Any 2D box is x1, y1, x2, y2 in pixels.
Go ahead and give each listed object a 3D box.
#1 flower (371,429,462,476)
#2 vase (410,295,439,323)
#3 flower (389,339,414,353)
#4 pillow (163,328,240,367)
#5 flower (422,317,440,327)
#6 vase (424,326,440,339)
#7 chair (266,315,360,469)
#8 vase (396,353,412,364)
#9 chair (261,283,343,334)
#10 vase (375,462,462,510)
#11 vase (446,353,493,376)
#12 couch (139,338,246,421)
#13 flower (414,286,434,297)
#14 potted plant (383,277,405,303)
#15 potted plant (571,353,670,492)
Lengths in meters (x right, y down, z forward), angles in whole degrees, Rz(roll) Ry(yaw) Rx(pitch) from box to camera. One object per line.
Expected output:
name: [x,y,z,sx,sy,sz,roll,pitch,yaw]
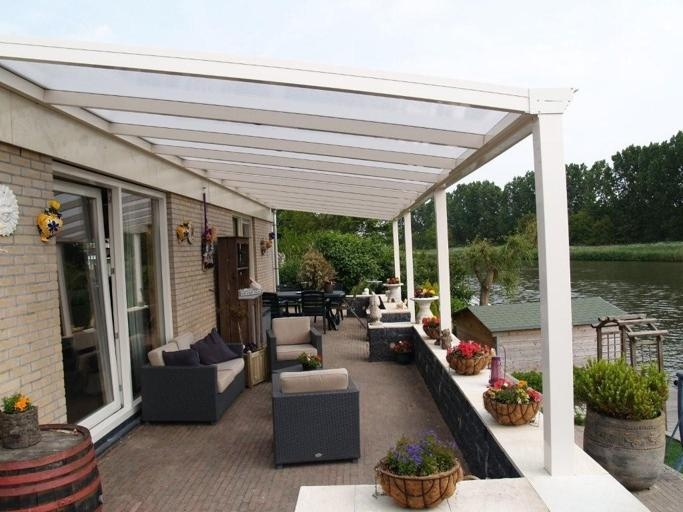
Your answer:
flower: [0.642,1.676,4.553,0.580,0.385,0.604,5,0,-15]
vase: [1.612,1.027,10.067,0.419,0.527,0.720,-2,-1,9]
flower: [1.106,1.674,9.821,0.288,0.239,0.437,-1,-1,-36]
pillow: [-1.953,1.330,7.617,0.434,0.508,0.436,0,0,36]
flower: [1.574,1.153,9.150,0.229,0.179,0.710,-2,-1,5]
vase: [1.542,1.284,8.798,0.138,0.209,0.601,-2,-1,-8]
chair: [-0.478,1.679,6.475,1.371,1.189,1.685,-1,-1,18]
vase: [1.170,1.877,9.673,0.223,0.166,0.226,0,2,-36]
chair: [-0.811,1.195,12.887,1.423,1.200,1.304,4,2,30]
vase: [0.683,1.869,4.486,0.574,0.377,0.580,3,-2,17]
vase: [1.645,1.374,6.697,0.547,0.272,0.358,-2,-1,13]
couch: [-1.996,1.726,7.358,1.021,1.005,1.973,0,-1,1]
flower: [1.625,0.711,10.171,0.366,0.174,0.368,-1,-2,9]
potted plant: [1.440,0.916,14.246,0.578,0.805,0.602,2,-3,-21]
potted plant: [2.995,1.819,5.491,0.868,1.418,0.492,-2,0,5]
